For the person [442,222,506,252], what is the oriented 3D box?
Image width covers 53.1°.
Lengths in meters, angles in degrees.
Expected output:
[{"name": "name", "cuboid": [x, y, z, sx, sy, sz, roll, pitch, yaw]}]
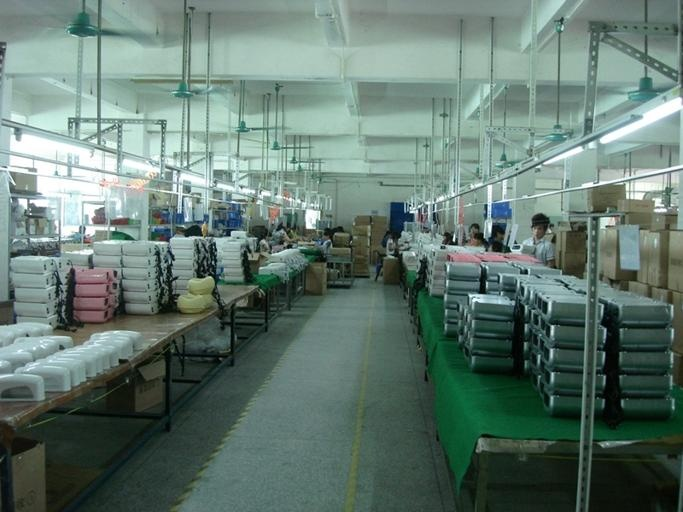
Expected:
[{"name": "person", "cuboid": [2.126, -0.250, 10.820, 0.916, 0.374, 0.637, 2, 1, -1]}]

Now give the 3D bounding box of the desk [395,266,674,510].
[{"name": "desk", "cuboid": [1.314, 1.135, 4.754, 1.014, 0.505, 2.093, 2, 4, 3]}]

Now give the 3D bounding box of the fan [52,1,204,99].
[{"name": "fan", "cuboid": [-2.917, -2.914, 9.465, 1.833, 1.669, 0.594, 4, -8, -37]}]

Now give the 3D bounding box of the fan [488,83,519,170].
[{"name": "fan", "cuboid": [2.766, -2.205, 11.568, 0.452, 1.507, 0.355, 1, -3, 19]}]

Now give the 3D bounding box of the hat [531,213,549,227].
[{"name": "hat", "cuboid": [2.348, -0.427, 8.068, 0.188, 0.160, 0.342, 0, 4, 14]}]
